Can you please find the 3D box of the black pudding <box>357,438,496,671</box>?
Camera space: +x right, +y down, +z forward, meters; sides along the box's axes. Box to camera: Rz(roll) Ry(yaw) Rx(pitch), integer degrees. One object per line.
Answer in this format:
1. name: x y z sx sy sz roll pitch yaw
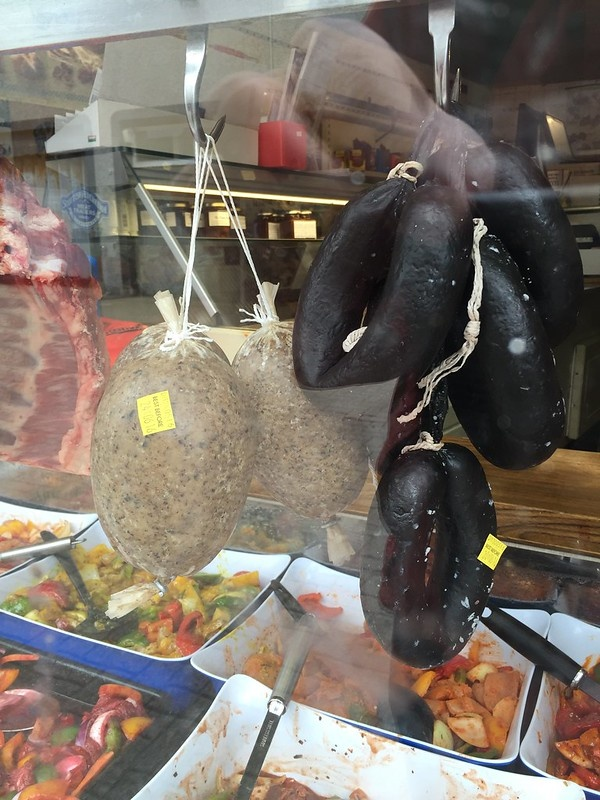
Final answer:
1. black pudding: 0.107 0.144 0.538 0.112 0.222 0.069 8 29 6
